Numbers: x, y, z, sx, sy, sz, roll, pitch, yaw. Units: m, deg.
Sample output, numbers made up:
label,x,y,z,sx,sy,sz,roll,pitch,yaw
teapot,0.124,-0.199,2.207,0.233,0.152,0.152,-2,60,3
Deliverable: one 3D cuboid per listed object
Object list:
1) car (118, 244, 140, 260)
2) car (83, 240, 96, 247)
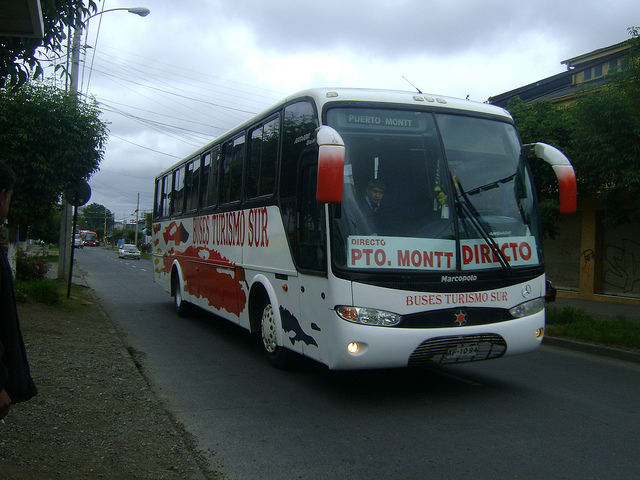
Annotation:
label,x,y,z,sx,sy,sz,roll,pitch,yaw
car,-18.144,1.051,52.974,1.243,1.234,2.633,1,-5,-25
car,-45.673,0.538,110.367,1.715,1.209,2.430,0,4,-17
